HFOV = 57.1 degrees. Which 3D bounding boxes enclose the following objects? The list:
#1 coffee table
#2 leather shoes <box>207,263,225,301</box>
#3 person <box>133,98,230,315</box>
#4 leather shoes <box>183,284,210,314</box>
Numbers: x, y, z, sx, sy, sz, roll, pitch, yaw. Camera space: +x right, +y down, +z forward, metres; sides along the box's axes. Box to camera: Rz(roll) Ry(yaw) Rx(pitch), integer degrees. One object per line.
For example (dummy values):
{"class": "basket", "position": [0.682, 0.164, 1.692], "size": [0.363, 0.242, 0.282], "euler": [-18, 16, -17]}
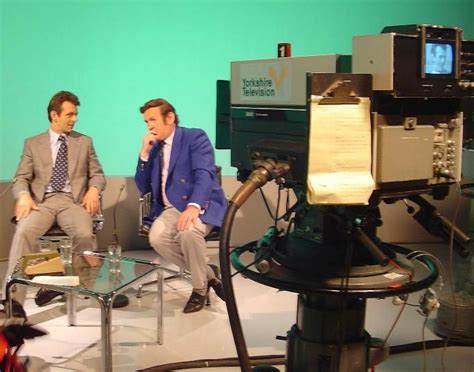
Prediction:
{"class": "coffee table", "position": [-0.779, 0.563, 2.447], "size": [0.711, 0.474, 0.675], "euler": [3, 6, 25]}
{"class": "leather shoes", "position": [-0.164, 0.689, 3.221], "size": [0.085, 0.229, 0.077], "euler": [-37, -27, 28]}
{"class": "person", "position": [-0.384, 0.122, 3.164], "size": [0.608, 1.496, 0.530], "euler": [-5, 9, -18]}
{"class": "leather shoes", "position": [-0.273, 0.807, 3.090], "size": [0.233, 0.154, 0.078], "euler": [-8, 10, -39]}
